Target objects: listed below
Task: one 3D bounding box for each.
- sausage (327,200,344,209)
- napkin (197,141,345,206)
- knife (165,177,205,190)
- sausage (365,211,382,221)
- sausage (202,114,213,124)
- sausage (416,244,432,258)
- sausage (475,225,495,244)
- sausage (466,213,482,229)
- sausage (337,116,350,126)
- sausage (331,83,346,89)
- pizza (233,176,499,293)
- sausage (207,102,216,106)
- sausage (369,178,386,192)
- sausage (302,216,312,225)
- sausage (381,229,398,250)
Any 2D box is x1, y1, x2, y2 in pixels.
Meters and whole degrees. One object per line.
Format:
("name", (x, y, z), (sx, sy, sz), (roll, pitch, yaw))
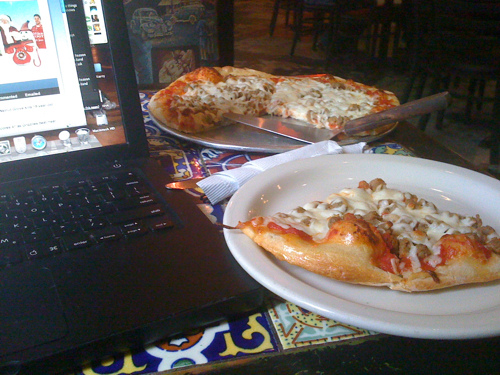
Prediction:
("sausage", (0.097, 0.019, 0.448), (0.011, 0.002, 0.009), (-12, 18, 5))
("napkin", (0.023, -0.044, 0.734), (0.058, 0.103, 0.438), (-53, 23, -13))
("knife", (-0.091, -0.004, 0.545), (0.012, 0.003, 0.048), (34, 26, 30))
("sausage", (0.138, 0.030, 0.450), (0.013, 0.003, 0.010), (-2, 26, -14))
("sausage", (-0.076, -0.125, 0.747), (0.021, 0.016, 0.005), (-6, -9, -28))
("sausage", (0.173, 0.062, 0.403), (0.016, 0.005, 0.013), (-2, 30, 2))
("sausage", (0.247, 0.050, 0.434), (0.024, 0.006, 0.016), (-26, 38, -13))
("sausage", (0.250, 0.038, 0.456), (0.018, 0.006, 0.014), (-5, 33, 0))
("sausage", (0.173, -0.125, 0.762), (0.026, 0.005, 0.021), (14, 38, 0))
("sausage", (0.208, -0.238, 0.960), (0.023, 0.005, 0.018), (6, 34, 8))
("pizza", (0.129, 0.028, 0.401), (0.172, 0.021, 0.149), (11, 19, 38))
("sausage", (-0.074, -0.161, 0.788), (0.014, 0.002, 0.011), (2, 28, 3))
("sausage", (0.162, -0.004, 0.523), (0.024, 0.013, 0.015), (-10, -5, 5))
("sausage", (0.062, 0.036, 0.442), (0.009, 0.002, 0.008), (1, 32, 26))
("sausage", (0.140, 0.053, 0.411), (0.013, 0.018, 0.005), (-27, -4, 4))
